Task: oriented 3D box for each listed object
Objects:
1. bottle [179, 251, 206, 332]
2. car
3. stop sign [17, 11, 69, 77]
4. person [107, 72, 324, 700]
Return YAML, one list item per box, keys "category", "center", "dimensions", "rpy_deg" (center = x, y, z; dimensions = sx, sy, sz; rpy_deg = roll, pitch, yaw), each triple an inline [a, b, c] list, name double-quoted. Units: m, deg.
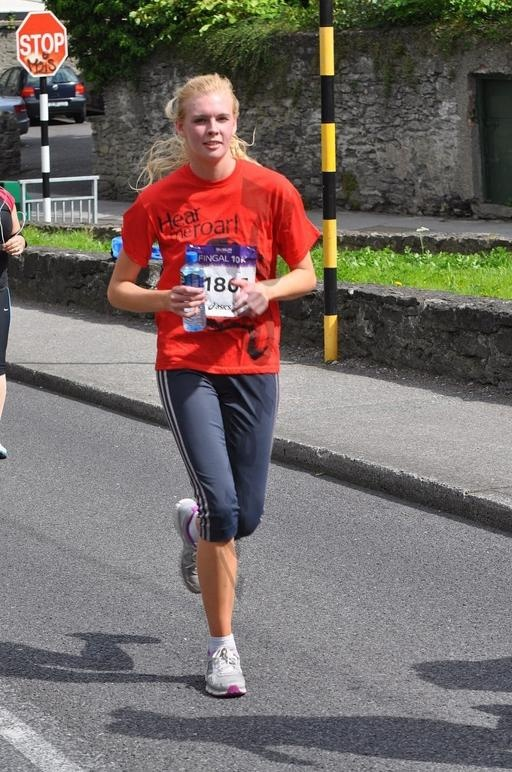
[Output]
- category: "bottle"
  center: [-0.168, -0.265, 2.315]
  dimensions: [0.071, 0.241, 0.139]
  rpy_deg: [1, 7, -3]
- category: "car"
  center: [-7.910, -10.960, 31.259]
  dimensions: [2.587, 2.071, 3.125]
  rpy_deg: [3, 7, 10]
- category: "stop sign"
  center: [-3.765, -6.104, 14.825]
  dimensions: [0.817, 1.172, 0.505]
  rpy_deg: [1, 7, -8]
- category: "person"
  center: [-0.117, -0.016, 2.556]
  dimensions: [0.517, 1.844, 0.572]
  rpy_deg: [-3, 8, -34]
